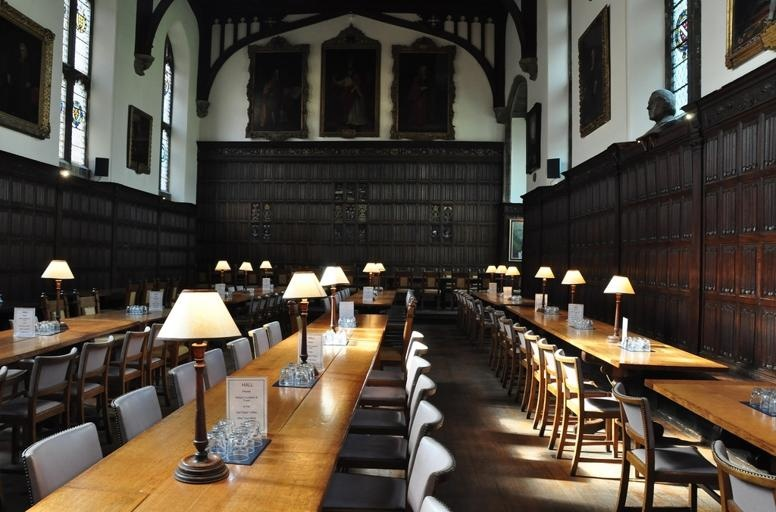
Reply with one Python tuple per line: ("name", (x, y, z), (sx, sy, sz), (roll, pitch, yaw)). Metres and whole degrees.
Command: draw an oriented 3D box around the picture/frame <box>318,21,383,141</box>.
("picture/frame", (-1.364, -6.211, 18.574), (2.061, 3.840, 0.760), (1, 10, -9))
